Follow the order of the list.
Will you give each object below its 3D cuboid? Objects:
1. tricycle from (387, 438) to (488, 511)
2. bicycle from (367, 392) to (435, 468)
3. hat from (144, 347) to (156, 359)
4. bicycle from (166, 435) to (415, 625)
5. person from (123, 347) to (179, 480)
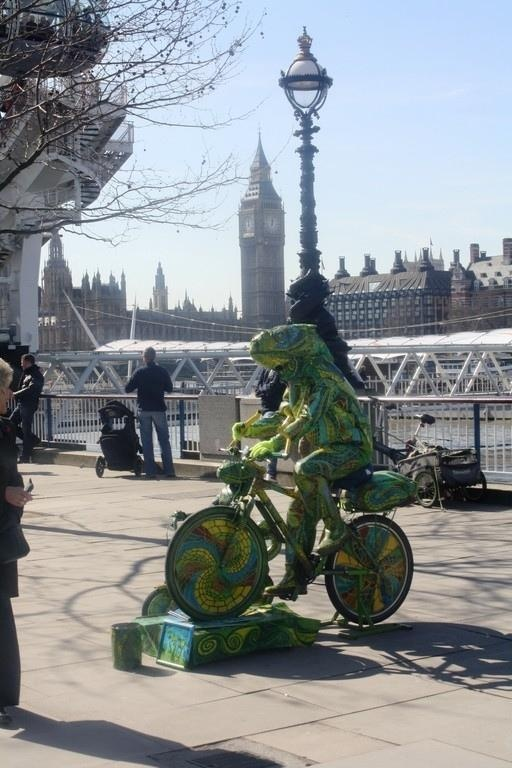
[{"bbox_3d":[1.523,0.828,12.532,0.791,0.555,1.313,-6,6,-39],"label":"tricycle"},{"bbox_3d":[1.420,0.517,12.468,0.902,0.513,0.473,12,-3,-15],"label":"bicycle"},{"bbox_3d":[-1.307,-0.366,15.544,0.137,0.155,0.163,5,34,-2],"label":"hat"},{"bbox_3d":[0.138,0.847,6.990,1.596,0.883,0.704,4,-7,-25],"label":"bicycle"},{"bbox_3d":[-1.327,0.356,15.862,0.597,1.628,1.174,0,-1,-4],"label":"person"}]
